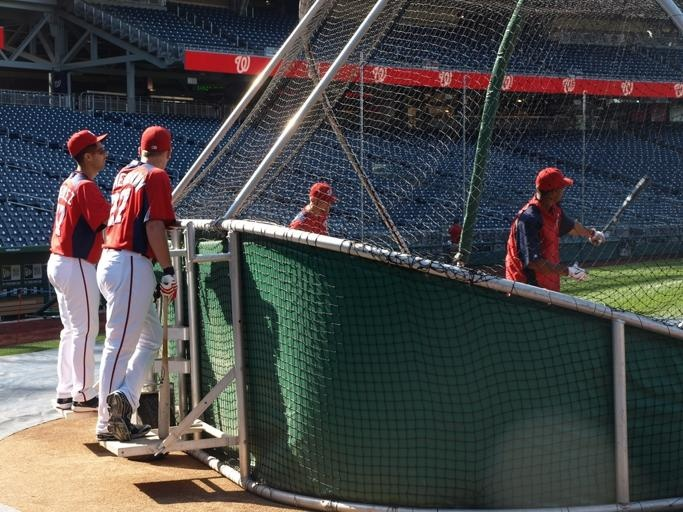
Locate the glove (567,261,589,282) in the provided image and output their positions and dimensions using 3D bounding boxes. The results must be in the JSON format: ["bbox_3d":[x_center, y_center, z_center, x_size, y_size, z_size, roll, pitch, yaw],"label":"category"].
[{"bbox_3d":[2.408,0.164,14.178,0.224,0.148,0.245,43,3,4],"label":"glove"}]

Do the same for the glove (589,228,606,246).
[{"bbox_3d":[2.709,-0.210,14.674,0.179,0.078,0.227,-2,11,-1],"label":"glove"}]

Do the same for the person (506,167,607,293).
[{"bbox_3d":[2.204,-0.267,14.378,0.921,1.269,0.791,5,11,13],"label":"person"}]

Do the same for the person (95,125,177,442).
[{"bbox_3d":[-2.055,0.268,13.835,0.789,3.062,0.928,1,11,-10],"label":"person"}]

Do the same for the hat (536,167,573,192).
[{"bbox_3d":[2.222,-0.788,14.331,0.368,0.186,0.245,-22,31,-15],"label":"hat"}]

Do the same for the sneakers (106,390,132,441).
[{"bbox_3d":[-2.174,1.545,13.700,0.208,0.493,0.239,-6,1,5],"label":"sneakers"}]

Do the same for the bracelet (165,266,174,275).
[{"bbox_3d":[-1.710,0.139,13.643,0.084,0.066,0.076,-2,-3,7],"label":"bracelet"}]

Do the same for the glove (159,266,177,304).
[{"bbox_3d":[-1.724,0.267,13.673,0.138,0.318,0.155,-1,6,-9],"label":"glove"}]

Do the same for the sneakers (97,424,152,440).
[{"bbox_3d":[-2.200,1.714,13.810,0.569,0.220,0.184,-2,-6,-14],"label":"sneakers"}]

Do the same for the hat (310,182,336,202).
[{"bbox_3d":[-0.195,-0.690,14.844,0.264,0.127,0.188,-1,14,-38],"label":"hat"}]

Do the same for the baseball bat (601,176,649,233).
[{"bbox_3d":[4.078,-0.764,19.773,0.192,1.319,0.072,15,50,-6],"label":"baseball bat"}]
